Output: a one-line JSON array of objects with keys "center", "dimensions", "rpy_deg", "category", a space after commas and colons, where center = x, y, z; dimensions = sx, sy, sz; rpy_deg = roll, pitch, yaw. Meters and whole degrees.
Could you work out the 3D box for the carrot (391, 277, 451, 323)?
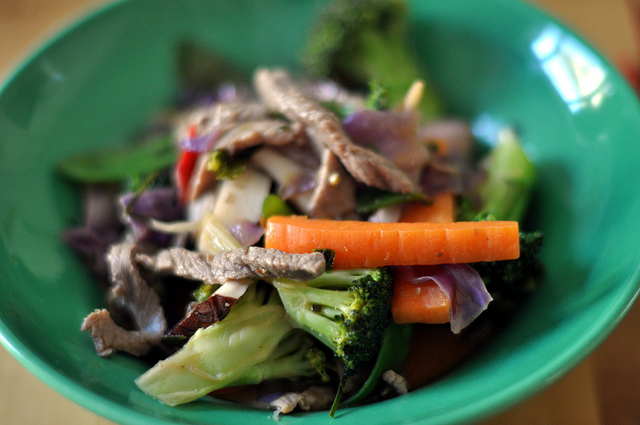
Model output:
[{"center": [0.385, 0.334, 2.620], "dimensions": [0.219, 0.090, 0.159], "rpy_deg": [1, 67, 4], "category": "carrot"}]
